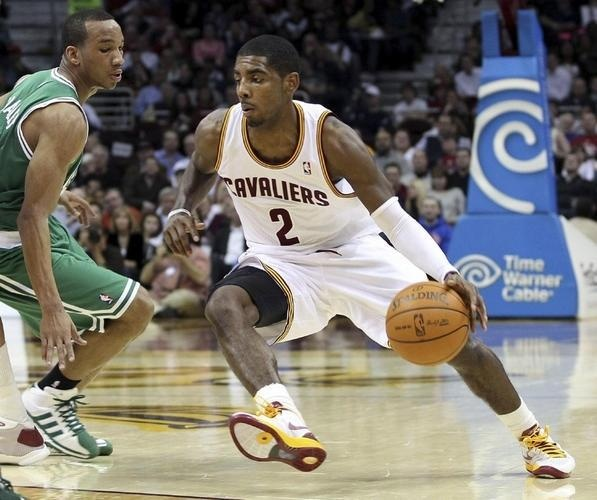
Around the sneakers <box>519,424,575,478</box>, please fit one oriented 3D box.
[{"bbox_3d":[0.965,0.794,2.955,0.224,0.179,0.162,1,9,36],"label":"sneakers"}]

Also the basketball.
[{"bbox_3d":[0.511,0.299,3.009,0.373,0.368,0.313,-8,1,23],"label":"basketball"}]

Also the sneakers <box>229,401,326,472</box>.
[{"bbox_3d":[-0.074,0.682,2.708,0.324,0.272,0.181,-4,7,-2],"label":"sneakers"}]
